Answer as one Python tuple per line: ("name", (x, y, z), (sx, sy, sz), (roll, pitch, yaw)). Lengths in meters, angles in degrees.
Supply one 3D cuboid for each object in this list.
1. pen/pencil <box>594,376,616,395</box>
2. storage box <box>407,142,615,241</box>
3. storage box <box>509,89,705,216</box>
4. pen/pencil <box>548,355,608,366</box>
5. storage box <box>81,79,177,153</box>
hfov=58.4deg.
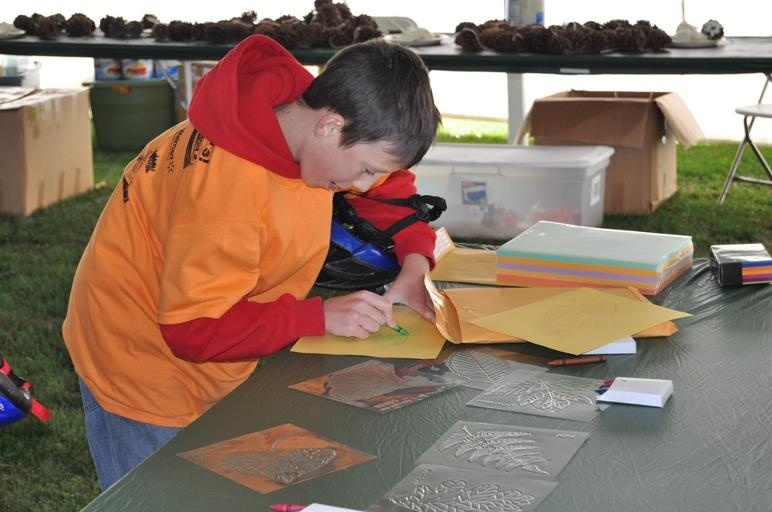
("pen/pencil", (0.448, 0.260, 1.411), (0.037, 0.011, 0.026), (-18, 15, -10))
("storage box", (0.655, -0.382, 3.509), (0.780, 0.320, 0.520), (3, 18, 12))
("storage box", (1.343, -0.619, 4.149), (1.027, 0.650, 0.750), (3, 15, 19))
("pen/pencil", (0.424, 0.223, 1.505), (0.097, 0.013, 0.013), (-6, 6, -12))
("storage box", (-2.177, -1.251, 6.177), (0.728, 0.508, 0.603), (1, 16, 3))
